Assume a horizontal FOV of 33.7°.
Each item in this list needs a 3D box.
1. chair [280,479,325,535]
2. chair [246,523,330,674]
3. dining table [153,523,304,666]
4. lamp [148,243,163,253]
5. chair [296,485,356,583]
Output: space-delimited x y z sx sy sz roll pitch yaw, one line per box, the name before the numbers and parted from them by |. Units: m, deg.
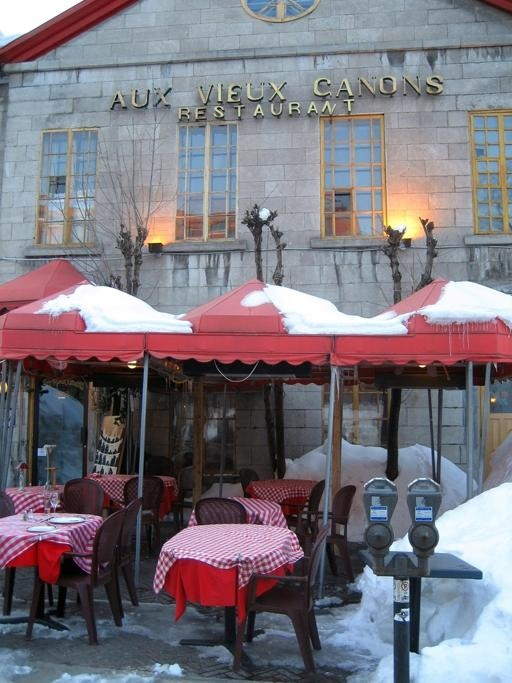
chair | 0.532 1.873 9.430 0.617 0.732 0.516 1 -10 0
chair | 0.359 1.913 6.520 0.885 1.110 0.779 0 -8 10
dining table | -0.199 1.902 6.375 1.069 0.893 1.158 1 6 3
lamp | -1.601 -1.460 13.245 0.177 0.115 0.169 0 1 1
chair | 0.678 1.910 8.569 0.641 0.823 0.540 4 -2 -21
